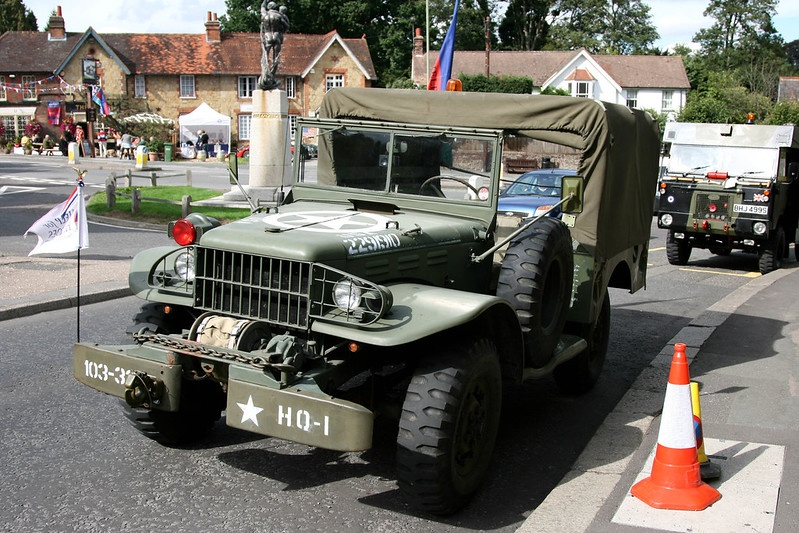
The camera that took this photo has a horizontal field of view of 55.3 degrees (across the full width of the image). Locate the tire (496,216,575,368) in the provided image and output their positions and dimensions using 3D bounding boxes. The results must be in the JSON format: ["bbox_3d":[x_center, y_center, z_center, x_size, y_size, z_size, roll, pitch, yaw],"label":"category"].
[{"bbox_3d":[1.373,0.281,7.684,0.422,1.534,1.459,4,-6,20],"label":"tire"}]

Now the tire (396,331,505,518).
[{"bbox_3d":[0.408,1.380,6.696,0.396,1.518,1.392,6,11,24],"label":"tire"}]

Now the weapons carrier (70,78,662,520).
[{"bbox_3d":[0.148,-0.194,8.516,3.368,3.512,6.083,5,8,35],"label":"weapons carrier"}]

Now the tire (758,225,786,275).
[{"bbox_3d":[8.923,-0.355,18.011,0.252,1.073,1.028,8,33,33],"label":"tire"}]

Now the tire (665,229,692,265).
[{"bbox_3d":[6.803,-0.486,18.525,0.252,0.871,0.823,2,0,37],"label":"tire"}]

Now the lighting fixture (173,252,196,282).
[{"bbox_3d":[-2.096,-0.007,7.544,0.267,0.294,0.076,-2,13,27],"label":"lighting fixture"}]
